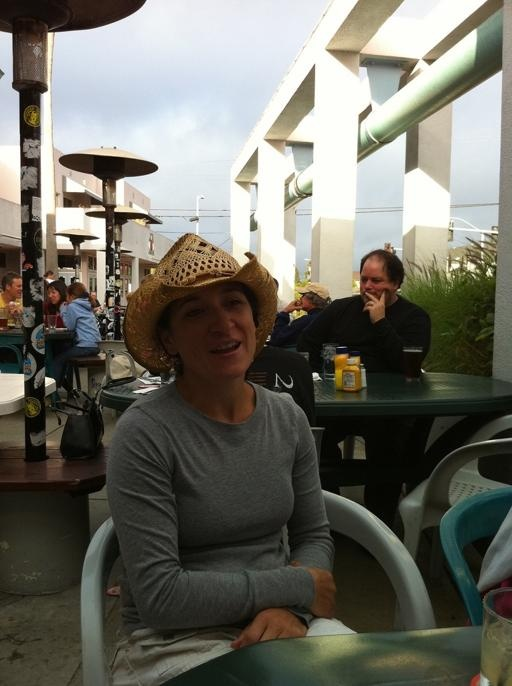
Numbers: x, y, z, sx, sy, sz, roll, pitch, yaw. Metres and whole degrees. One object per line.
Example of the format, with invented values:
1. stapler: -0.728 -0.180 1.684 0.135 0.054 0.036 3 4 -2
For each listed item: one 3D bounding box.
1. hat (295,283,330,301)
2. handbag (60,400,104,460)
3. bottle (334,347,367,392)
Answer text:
1. hat: 0.652 -0.571 6.409 0.384 0.173 0.249 18 4 -3
2. handbag: -0.801 0.385 2.731 0.179 0.264 0.253 1 4 -12
3. bottle: 0.451 0.133 2.836 0.196 0.251 0.107 -6 -9 41
